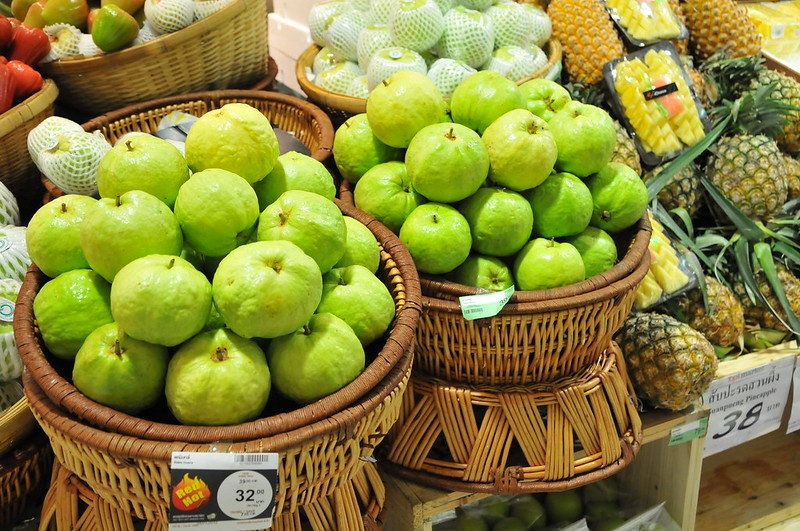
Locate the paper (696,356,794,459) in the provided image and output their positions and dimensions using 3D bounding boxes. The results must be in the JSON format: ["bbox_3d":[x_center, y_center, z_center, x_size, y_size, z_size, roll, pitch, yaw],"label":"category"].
[{"bbox_3d":[1.290,0.522,2.400,0.387,0.252,0.273,-13,47,-12],"label":"paper"}]

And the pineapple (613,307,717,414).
[{"bbox_3d":[0.932,0.332,2.347,0.233,0.238,0.407,-16,2,-6],"label":"pineapple"}]

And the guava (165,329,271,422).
[{"bbox_3d":[-0.419,0.265,1.598,0.216,0.216,0.216,3,30,5],"label":"guava"}]

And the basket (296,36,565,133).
[{"bbox_3d":[-0.022,-0.778,2.698,0.667,0.215,0.660,-27,40,-23],"label":"basket"}]

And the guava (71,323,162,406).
[{"bbox_3d":[-0.692,0.265,1.591,0.203,0.193,0.141,2,31,14],"label":"guava"}]
